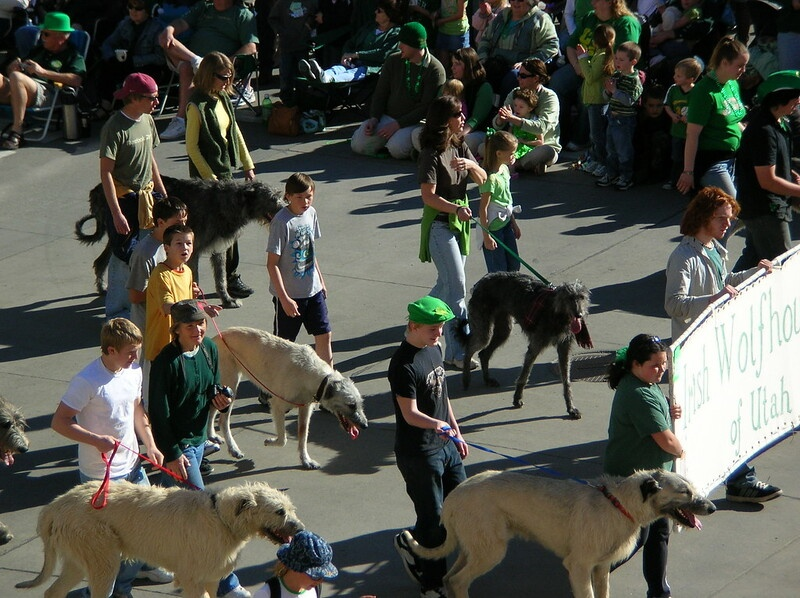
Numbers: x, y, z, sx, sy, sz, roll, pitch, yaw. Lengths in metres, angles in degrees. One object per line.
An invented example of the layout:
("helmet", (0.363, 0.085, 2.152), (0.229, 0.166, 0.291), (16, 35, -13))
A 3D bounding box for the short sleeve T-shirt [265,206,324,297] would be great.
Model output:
("short sleeve T-shirt", (-1.140, -0.471, 15.409), (0.672, 0.937, 0.223), (-7, 15, -32))

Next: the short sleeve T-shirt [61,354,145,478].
("short sleeve T-shirt", (-2.596, 1.032, 13.082), (0.354, 1.011, 0.729), (10, 16, 39))

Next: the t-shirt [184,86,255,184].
("t-shirt", (-2.228, -1.947, 17.646), (0.316, 1.051, 0.847), (10, 15, 37))

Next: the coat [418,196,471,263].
("coat", (0.447, -0.739, 15.997), (0.617, 0.722, 0.486), (-23, 31, -35))

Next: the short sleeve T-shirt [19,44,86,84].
("short sleeve T-shirt", (-5.226, -3.496, 22.395), (1.154, 0.338, 0.607), (19, 21, 36))

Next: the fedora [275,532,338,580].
("fedora", (-0.751, 2.030, 11.747), (0.462, 0.209, 0.356), (22, 29, 13))

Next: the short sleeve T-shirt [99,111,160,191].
("short sleeve T-shirt", (-3.059, -1.637, 16.579), (0.269, 0.882, 0.748), (10, 15, 38))

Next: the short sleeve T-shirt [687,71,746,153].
("short sleeve T-shirt", (3.561, -2.091, 16.897), (0.720, 0.887, 0.311), (-3, 13, -17))

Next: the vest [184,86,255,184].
("vest", (-2.229, -1.946, 17.640), (0.354, 1.051, 0.833), (8, 14, 34))

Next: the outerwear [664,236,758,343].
("outerwear", (2.956, -0.065, 14.251), (0.673, 1.669, 0.801), (5, 20, 28))

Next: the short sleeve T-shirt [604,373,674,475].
("short sleeve T-shirt", (2.074, 1.099, 13.028), (0.629, 0.813, 0.792), (-3, 16, 6))

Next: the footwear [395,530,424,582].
("footwear", (0.036, 2.264, 13.261), (0.234, 0.503, 0.186), (0, -19, -45))

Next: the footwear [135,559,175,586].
("footwear", (-2.324, 2.458, 13.482), (0.526, 0.208, 0.174), (3, 1, 3))

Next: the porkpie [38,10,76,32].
("porkpie", (-5.263, -4.120, 22.304), (0.386, 0.165, 0.430), (-2, 15, -35))

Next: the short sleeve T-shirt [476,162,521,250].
("short sleeve T-shirt", (1.028, -1.008, 16.398), (0.593, 0.866, 0.306), (-11, 17, -43))

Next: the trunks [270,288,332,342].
("trunks", (-1.082, 0.167, 15.576), (0.613, 0.477, 0.325), (-12, 9, -30))

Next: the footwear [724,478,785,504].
("footwear", (3.346, 1.820, 14.242), (0.633, 0.259, 0.200), (-1, 7, 5))

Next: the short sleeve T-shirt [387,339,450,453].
("short sleeve T-shirt", (0.181, 0.855, 13.215), (0.572, 0.970, 0.346), (-8, 14, -32))

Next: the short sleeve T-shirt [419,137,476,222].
("short sleeve T-shirt", (0.473, -1.318, 15.993), (0.835, 0.697, 0.405), (-20, 31, -40))

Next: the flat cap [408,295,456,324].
("flat cap", (0.236, 0.095, 13.026), (0.352, 0.107, 0.229), (-2, 31, 6))
